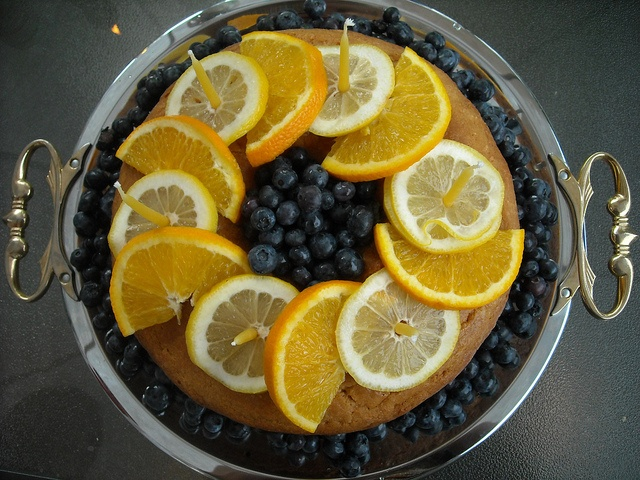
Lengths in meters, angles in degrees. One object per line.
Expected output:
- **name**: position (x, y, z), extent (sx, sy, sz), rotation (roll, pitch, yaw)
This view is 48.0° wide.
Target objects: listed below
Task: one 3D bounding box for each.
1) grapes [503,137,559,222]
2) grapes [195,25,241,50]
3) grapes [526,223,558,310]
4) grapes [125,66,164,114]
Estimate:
- **grapes**: position (1.053, -0.366, 3.694), extent (0.198, 0.101, 0.372), rotation (-16, 82, -1)
- **grapes**: position (-0.502, -1.061, 3.786), extent (0.104, 0.092, 0.198), rotation (11, 40, 20)
- **grapes**: position (1.098, 0.134, 3.585), extent (0.190, 0.107, 0.427), rotation (3, 84, -2)
- **grapes**: position (-0.898, -0.757, 3.703), extent (0.159, 0.086, 0.233), rotation (24, 97, 1)
